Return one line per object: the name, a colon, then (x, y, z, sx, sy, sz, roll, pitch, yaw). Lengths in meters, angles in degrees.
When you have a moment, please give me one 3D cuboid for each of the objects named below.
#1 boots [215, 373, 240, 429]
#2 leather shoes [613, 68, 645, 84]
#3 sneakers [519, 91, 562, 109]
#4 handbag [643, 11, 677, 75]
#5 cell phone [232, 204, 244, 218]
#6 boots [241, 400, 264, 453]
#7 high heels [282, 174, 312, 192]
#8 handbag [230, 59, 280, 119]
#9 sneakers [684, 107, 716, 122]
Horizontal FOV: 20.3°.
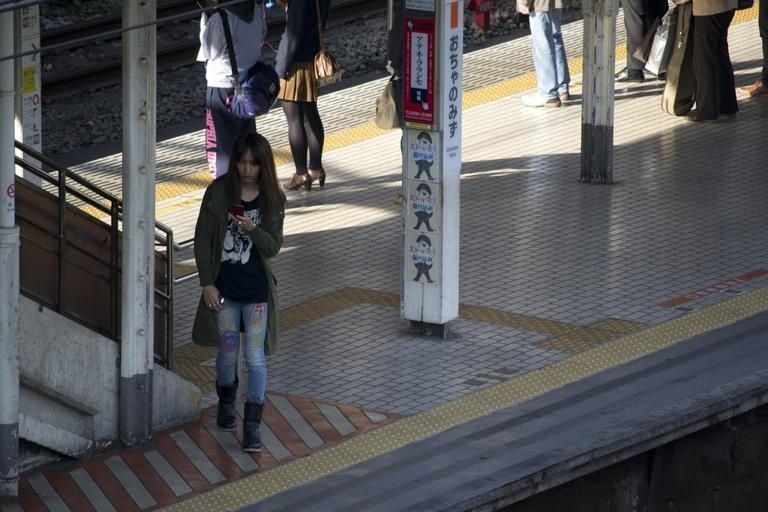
boots: (-1.450, 1.351, 19.491, 0.252, 0.429, 0.483, 2, 18, -5)
leather shoes: (3.163, -2.248, 27.090, 0.457, 0.163, 0.169, 16, 31, 39)
sneakers: (1.962, -1.903, 26.356, 0.523, 0.194, 0.186, 10, 38, 26)
handbag: (3.349, -2.474, 25.560, 0.277, 0.638, 0.671, 23, 36, 6)
cell phone: (-1.315, -0.389, 18.968, 0.093, 0.098, 0.127, -13, 21, -19)
boots: (-1.196, 1.513, 19.143, 0.214, 0.443, 0.218, -5, 21, 3)
high heels: (-0.955, -0.796, 24.077, 0.408, 0.175, 0.139, 6, 28, 24)
handbag: (-1.333, -1.677, 22.014, 0.610, 0.252, 0.439, -20, 51, 16)
sneakers: (3.824, -1.643, 25.488, 0.351, 0.128, 0.128, 0, 39, 10)
